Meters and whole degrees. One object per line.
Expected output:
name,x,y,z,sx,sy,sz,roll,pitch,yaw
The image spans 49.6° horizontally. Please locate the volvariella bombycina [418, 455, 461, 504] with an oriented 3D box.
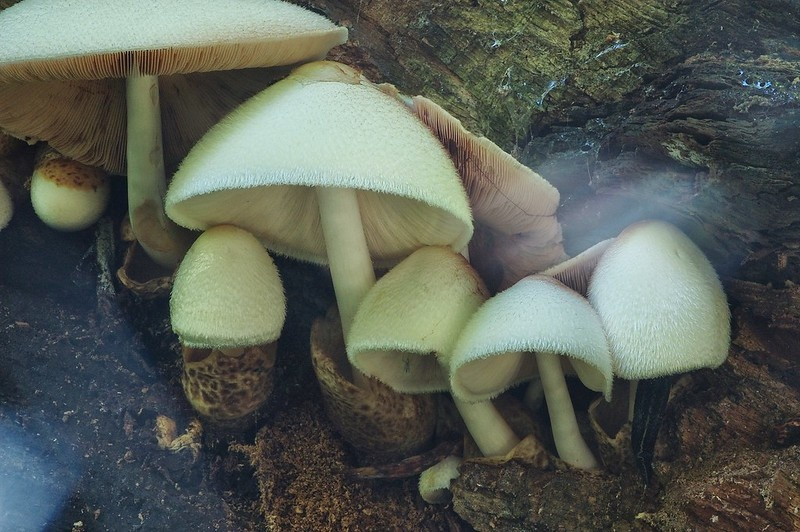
volvariella bombycina,0.261,1.192,5.014,0.291,0.105,0.337,-18,13,7
